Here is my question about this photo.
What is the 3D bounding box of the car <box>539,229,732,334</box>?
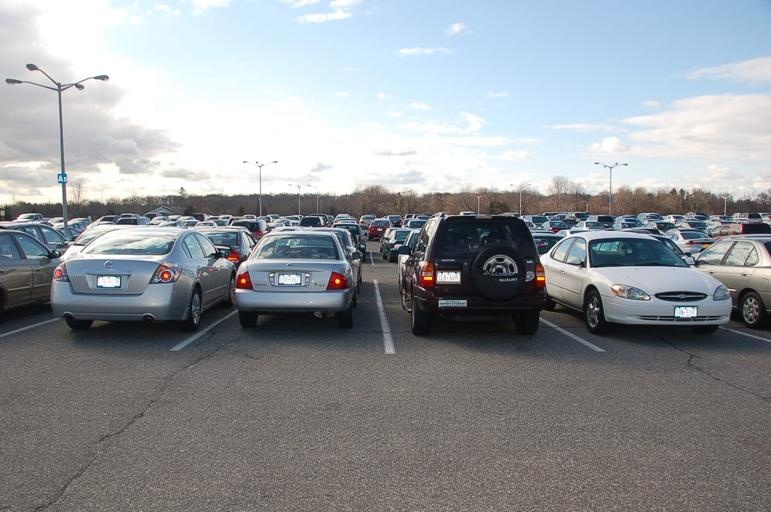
[{"bbox_3d":[4.766,0.435,10.545,2.015,1.405,4.445,0,-2,-5],"label":"car"}]

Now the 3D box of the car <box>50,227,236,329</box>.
[{"bbox_3d":[-5.589,0.091,10.579,1.962,1.394,4.429,5,8,-24],"label":"car"}]

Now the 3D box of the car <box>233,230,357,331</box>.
[{"bbox_3d":[-1.656,0.391,9.361,1.402,1.005,2.923,0,5,-1],"label":"car"}]

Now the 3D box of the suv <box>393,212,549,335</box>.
[{"bbox_3d":[1.619,0.214,8.713,1.682,1.280,2.959,0,7,0],"label":"suv"}]
